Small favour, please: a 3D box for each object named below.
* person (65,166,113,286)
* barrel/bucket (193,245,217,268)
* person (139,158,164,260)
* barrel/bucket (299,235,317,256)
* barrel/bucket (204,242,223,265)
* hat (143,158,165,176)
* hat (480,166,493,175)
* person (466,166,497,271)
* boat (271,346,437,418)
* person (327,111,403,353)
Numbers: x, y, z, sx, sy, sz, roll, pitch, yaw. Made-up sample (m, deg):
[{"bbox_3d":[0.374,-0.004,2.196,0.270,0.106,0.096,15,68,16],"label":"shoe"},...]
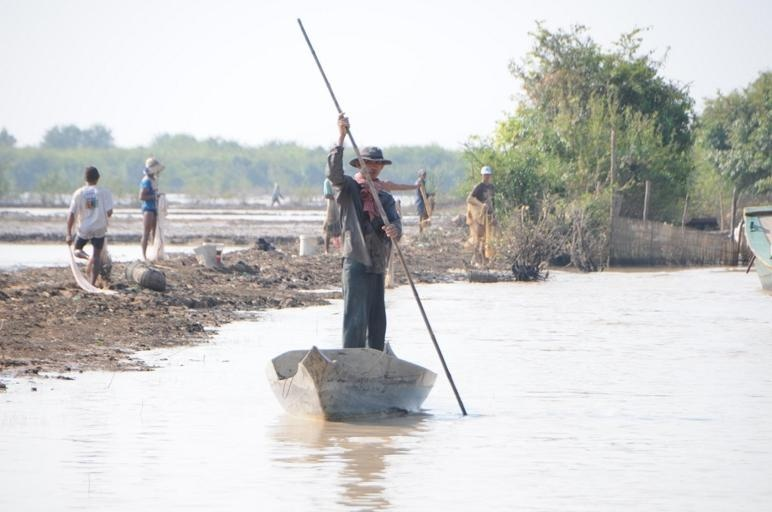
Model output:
[{"bbox_3d":[-6.556,-0.623,33.622,0.863,2.673,1.155,6,8,39],"label":"person"},{"bbox_3d":[-4.528,0.035,38.254,0.363,0.711,0.395,-15,0,0],"label":"barrel/bucket"},{"bbox_3d":[-5.779,-1.129,37.646,0.541,2.545,1.119,0,7,-10],"label":"person"},{"bbox_3d":[-2.206,-0.280,43.180,0.540,0.632,0.566,0,-7,0],"label":"barrel/bucket"},{"bbox_3d":[-4.451,-0.038,39.310,0.556,0.696,0.555,-4,-25,-2],"label":"barrel/bucket"},{"bbox_3d":[-5.735,-2.208,37.601,0.499,0.559,0.292,-2,-38,-3],"label":"hat"},{"bbox_3d":[2.846,-2.428,42.514,0.287,0.205,0.402,2,-5,-6],"label":"hat"},{"bbox_3d":[2.713,-1.120,43.024,0.767,2.821,1.409,1,7,4],"label":"person"},{"bbox_3d":[-0.510,2.348,27.418,2.119,0.882,1.558,11,-8,-34],"label":"boat"},{"bbox_3d":[-0.399,-0.404,27.780,1.291,4.308,0.974,1,7,-1],"label":"person"}]
